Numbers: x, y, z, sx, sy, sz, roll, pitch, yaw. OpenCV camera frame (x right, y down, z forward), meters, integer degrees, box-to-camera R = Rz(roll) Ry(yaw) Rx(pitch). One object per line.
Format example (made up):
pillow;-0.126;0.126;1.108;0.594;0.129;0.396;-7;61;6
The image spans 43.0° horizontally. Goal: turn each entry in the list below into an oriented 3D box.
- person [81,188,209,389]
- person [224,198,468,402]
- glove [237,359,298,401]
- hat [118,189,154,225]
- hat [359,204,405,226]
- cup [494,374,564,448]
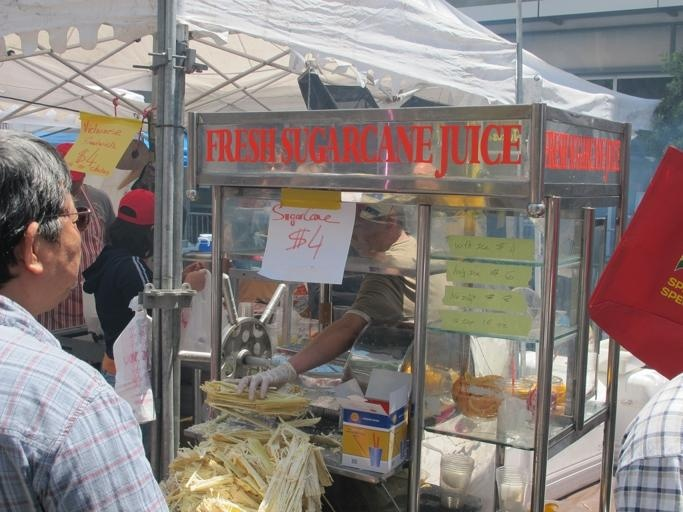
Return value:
person;-1.103;0.414;5.221;0.795;1.546;0.483;-7;16;-34
person;0.106;0.186;3.964;0.994;0.922;0.393;-3;9;-12
glove;-0.322;0.557;3.916;0.097;0.102;0.344;5;18;32
hat;-1.212;-0.296;5.237;0.182;0.147;0.266;12;31;11
hat;0.173;-0.160;3.795;0.145;0.065;0.102;14;-7;-35
cup;0.761;0.647;3.582;0.324;0.316;0.181;2;2;45
